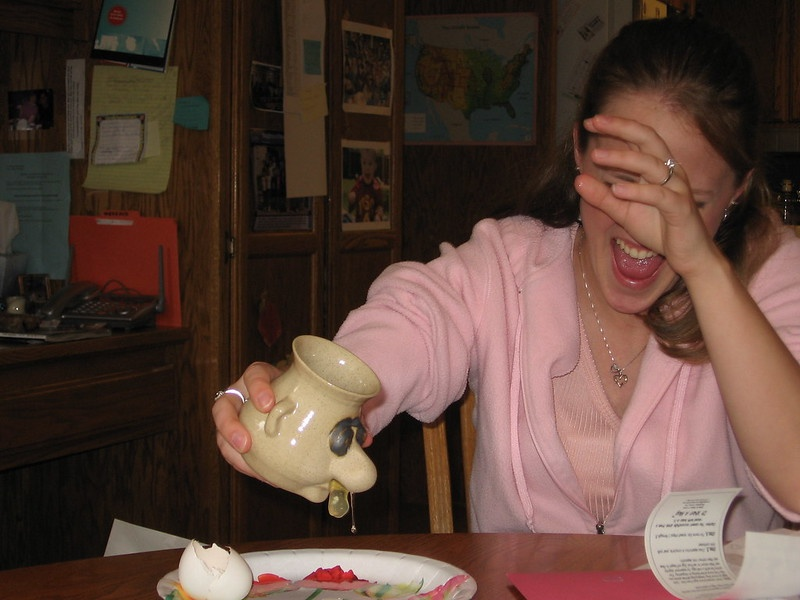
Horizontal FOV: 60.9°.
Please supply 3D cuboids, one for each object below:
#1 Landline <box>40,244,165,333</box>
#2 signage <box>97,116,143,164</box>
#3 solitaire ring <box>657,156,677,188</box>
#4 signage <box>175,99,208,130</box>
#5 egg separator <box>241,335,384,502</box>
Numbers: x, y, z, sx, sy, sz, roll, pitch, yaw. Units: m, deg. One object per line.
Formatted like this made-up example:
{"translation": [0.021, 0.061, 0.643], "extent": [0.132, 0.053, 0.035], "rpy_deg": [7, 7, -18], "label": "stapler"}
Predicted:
{"translation": [-0.829, 0.023, 1.919], "extent": [0.332, 0.271, 0.215], "rpy_deg": [1, 1, 13], "label": "Landline"}
{"translation": [-0.819, -0.469, 2.008], "extent": [0.126, 0.124, 0.019], "rpy_deg": [4, -4, 25], "label": "signage"}
{"translation": [0.393, -0.185, 1.009], "extent": [0.020, 0.038, 0.033], "rpy_deg": [14, -19, 7], "label": "solitaire ring"}
{"translation": [-0.595, -0.525, 1.942], "extent": [0.083, 0.097, 0.013], "rpy_deg": [5, 8, 9], "label": "signage"}
{"translation": [-0.104, 0.151, 0.919], "extent": [0.208, 0.167, 0.166], "rpy_deg": [34, 13, 10], "label": "egg separator"}
